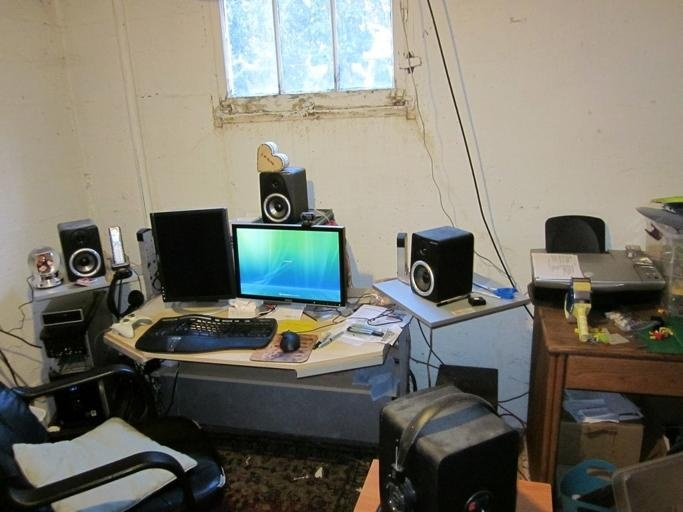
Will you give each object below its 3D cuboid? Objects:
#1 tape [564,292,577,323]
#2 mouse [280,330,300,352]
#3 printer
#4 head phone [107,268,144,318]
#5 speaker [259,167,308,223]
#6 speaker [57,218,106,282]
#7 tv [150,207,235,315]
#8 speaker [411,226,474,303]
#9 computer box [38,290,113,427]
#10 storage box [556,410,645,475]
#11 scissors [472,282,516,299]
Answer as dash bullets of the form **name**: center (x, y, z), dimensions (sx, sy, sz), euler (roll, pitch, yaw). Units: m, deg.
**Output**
- **tape**: center (1.063, 0.243, 2.594), dimensions (0.032, 0.112, 0.077), euler (3, -3, 13)
- **mouse**: center (-0.242, 0.402, 2.648), dimensions (0.068, 0.100, 0.077), euler (-1, -28, -9)
- **printer**: center (1.255, 0.073, 2.850), dimensions (0.602, 0.361, 0.774), euler (-4, 19, 6)
- **head phone**: center (-1.252, 0.218, 3.188), dimensions (0.149, 0.366, 0.287), euler (0, -1, 3)
- **speaker**: center (-0.314, -0.335, 3.014), dimensions (0.209, 0.278, 0.261), euler (1, 18, 11)
- **speaker**: center (-1.547, -0.043, 3.324), dimensions (0.210, 0.344, 0.242), euler (-13, 20, -28)
- **tv**: center (-0.791, 0.031, 2.975), dimensions (0.541, 0.659, 0.066), euler (-1, 16, 2)
- **speaker**: center (0.476, 0.047, 2.744), dimensions (0.223, 0.286, 0.201), euler (-10, 15, -29)
- **computer box**: center (-1.534, 0.565, 3.275), dimensions (0.350, 0.833, 0.533), euler (0, 26, -8)
- **storage box**: center (1.417, 1.040, 2.906), dimensions (0.278, 0.361, 0.527), euler (0, -9, 25)
- **scissors**: center (0.774, 0.167, 2.799), dimensions (0.069, 0.043, 0.237), euler (-14, 19, -34)
